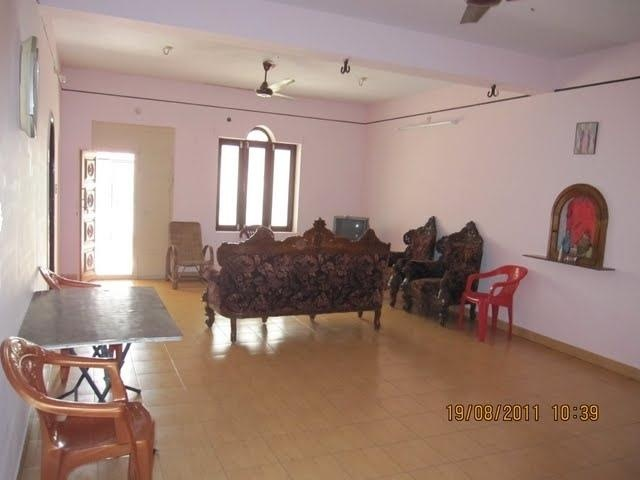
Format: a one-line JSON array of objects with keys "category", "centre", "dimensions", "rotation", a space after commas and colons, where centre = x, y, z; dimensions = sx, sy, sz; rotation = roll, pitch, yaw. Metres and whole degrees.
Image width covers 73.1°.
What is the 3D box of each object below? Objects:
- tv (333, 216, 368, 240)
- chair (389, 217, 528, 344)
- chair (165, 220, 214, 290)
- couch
[{"category": "tv", "centre": [0.712, -0.287, 9.365], "dimensions": [0.824, 0.528, 0.593], "rotation": [-1, -1, 39]}, {"category": "chair", "centre": [2.233, 0.533, 7.120], "dimensions": [1.048, 1.646, 2.047], "rotation": [-3, 11, -30]}, {"category": "chair", "centre": [-2.561, 0.251, 8.514], "dimensions": [0.761, 1.225, 0.900], "rotation": [0, 4, -27]}, {"category": "couch", "centre": [-0.230, 0.465, 6.509], "dimensions": [2.739, 1.743, 0.989], "rotation": [0, 14, -25]}]
